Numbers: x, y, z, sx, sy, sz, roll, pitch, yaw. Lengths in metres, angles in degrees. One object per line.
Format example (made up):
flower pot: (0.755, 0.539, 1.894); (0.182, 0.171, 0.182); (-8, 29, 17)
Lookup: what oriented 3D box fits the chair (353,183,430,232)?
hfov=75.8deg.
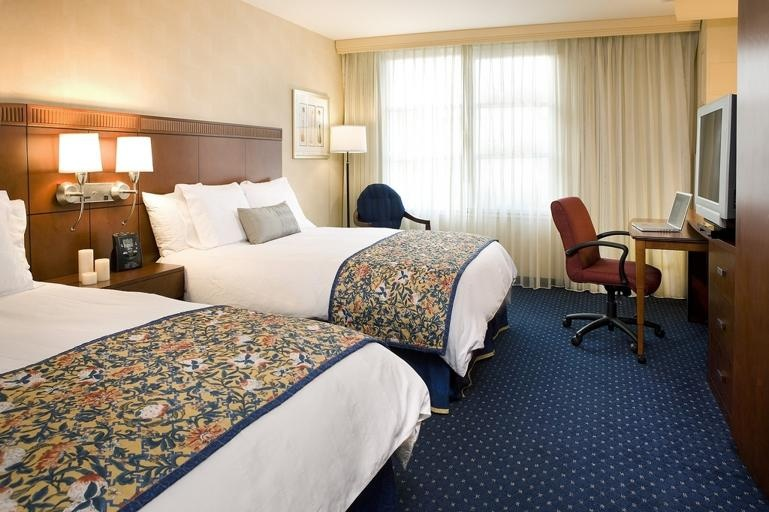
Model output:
chair: (0.068, -0.613, 6.456); (0.624, 0.946, 0.727); (-6, 10, -22)

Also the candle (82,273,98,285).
candle: (-2.113, 0.155, 3.526); (0.079, 0.077, 0.084); (1, 4, 19)

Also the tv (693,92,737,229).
tv: (2.457, -0.710, 3.647); (0.078, 0.916, 1.045); (1, 13, 22)

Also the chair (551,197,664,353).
chair: (2.111, 0.016, 5.135); (1.225, 1.828, 1.320); (0, 6, 25)

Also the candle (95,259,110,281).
candle: (-2.049, 0.098, 3.575); (0.084, 0.154, 0.079); (-11, 14, -32)

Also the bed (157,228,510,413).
bed: (-0.147, 0.231, 3.902); (1.656, 0.687, 1.773); (2, 5, 19)

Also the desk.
desk: (2.670, 0.351, 4.613); (0.482, 0.639, 1.242); (-1, 4, 15)

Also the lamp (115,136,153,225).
lamp: (-2.031, -0.625, 4.010); (0.285, 0.715, 0.368); (-10, 14, -29)

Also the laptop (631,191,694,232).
laptop: (2.499, -0.347, 4.399); (0.403, 0.348, 0.541); (-2, 6, 12)

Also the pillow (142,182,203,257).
pillow: (-1.838, -0.280, 4.255); (0.160, 0.585, 0.568); (-10, 9, 31)

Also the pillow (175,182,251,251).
pillow: (-1.516, -0.389, 4.380); (0.166, 0.590, 0.588); (-23, -7, 34)

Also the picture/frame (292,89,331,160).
picture/frame: (-0.947, -1.700, 6.241); (0.065, 0.960, 0.956); (1, 4, 20)

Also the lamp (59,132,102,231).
lamp: (-2.242, -0.560, 3.656); (0.275, 0.718, 0.292); (-11, 14, -33)

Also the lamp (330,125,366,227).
lamp: (-0.447, -1.091, 6.709); (0.503, 1.385, 0.619); (-4, 12, -1)
